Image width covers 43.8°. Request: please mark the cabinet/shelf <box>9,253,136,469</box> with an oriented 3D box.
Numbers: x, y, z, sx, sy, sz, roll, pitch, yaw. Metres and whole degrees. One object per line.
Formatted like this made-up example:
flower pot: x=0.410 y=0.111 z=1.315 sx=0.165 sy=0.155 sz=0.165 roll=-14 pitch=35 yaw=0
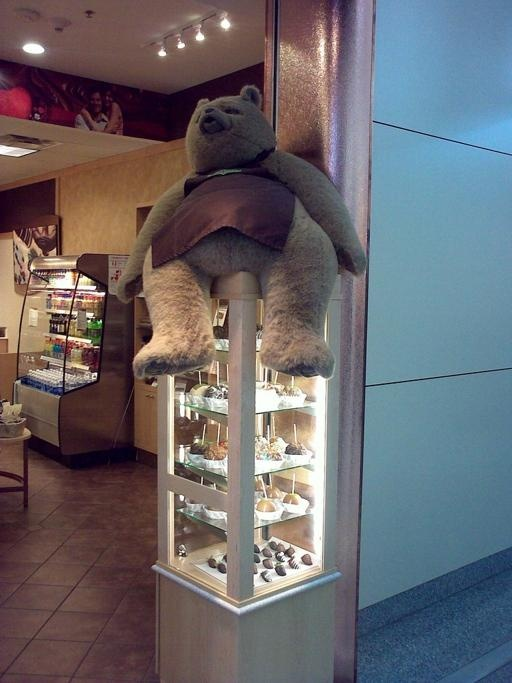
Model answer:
cabinet/shelf: x=-1.749 y=0.129 z=6.085 sx=0.770 sy=1.882 sz=1.057 roll=-4 pitch=6 yaw=-39
